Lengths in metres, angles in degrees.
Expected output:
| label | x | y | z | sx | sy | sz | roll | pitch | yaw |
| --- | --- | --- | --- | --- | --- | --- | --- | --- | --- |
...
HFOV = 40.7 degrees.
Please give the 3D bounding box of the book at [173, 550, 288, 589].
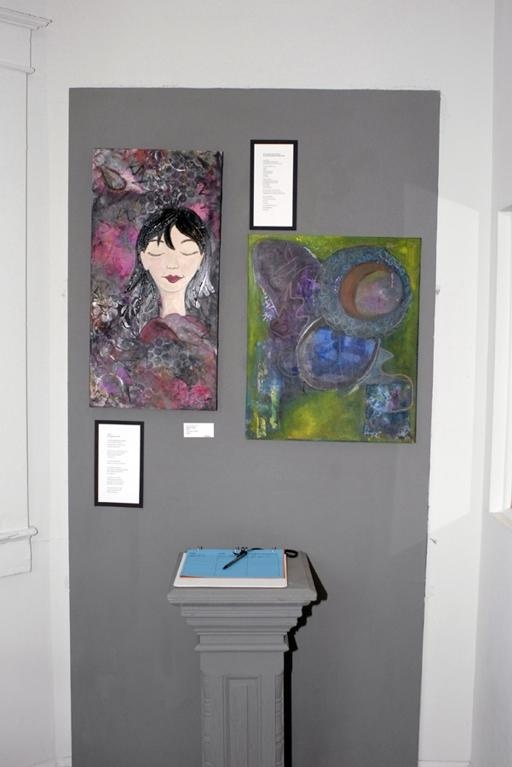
| label | x | y | z | sx | sy | sz | roll | pitch | yaw |
| --- | --- | --- | --- | --- | --- | --- | --- | --- | --- |
| book | -0.074 | 0.549 | 2.063 | 0.323 | 0.056 | 0.251 | 0 | 2 | 2 |
